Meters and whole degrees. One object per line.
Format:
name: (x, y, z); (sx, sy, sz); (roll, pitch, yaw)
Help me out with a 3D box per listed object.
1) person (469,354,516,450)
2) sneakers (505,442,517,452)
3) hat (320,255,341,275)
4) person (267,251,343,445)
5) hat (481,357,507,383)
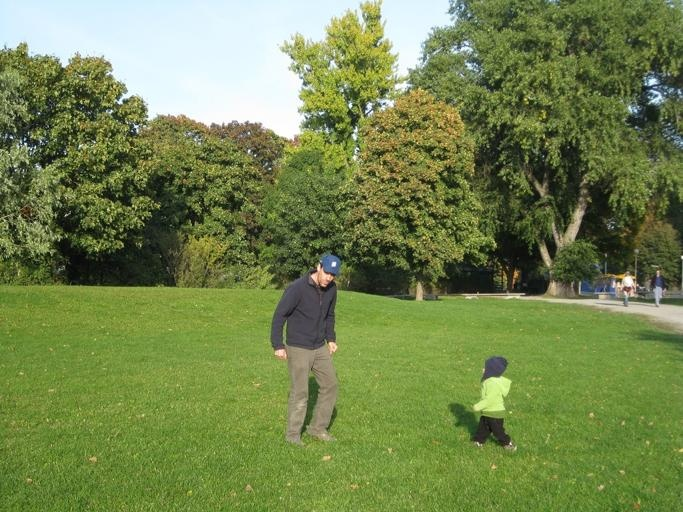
person: (3.170, 3.035, 12.809); (0.819, 1.841, 0.552); (2, 5, 9)
sneakers: (3.504, 3.940, 12.751); (0.117, 0.151, 0.212); (2, -20, 8)
hat: (-0.202, 0.168, 12.420); (0.298, 0.248, 0.419); (17, 15, -22)
person: (-0.682, 1.877, 12.761); (1.260, 3.847, 1.190); (2, 5, 12)
hat: (3.260, 2.362, 13.098); (0.518, 0.591, 0.408); (4, -2, 37)
